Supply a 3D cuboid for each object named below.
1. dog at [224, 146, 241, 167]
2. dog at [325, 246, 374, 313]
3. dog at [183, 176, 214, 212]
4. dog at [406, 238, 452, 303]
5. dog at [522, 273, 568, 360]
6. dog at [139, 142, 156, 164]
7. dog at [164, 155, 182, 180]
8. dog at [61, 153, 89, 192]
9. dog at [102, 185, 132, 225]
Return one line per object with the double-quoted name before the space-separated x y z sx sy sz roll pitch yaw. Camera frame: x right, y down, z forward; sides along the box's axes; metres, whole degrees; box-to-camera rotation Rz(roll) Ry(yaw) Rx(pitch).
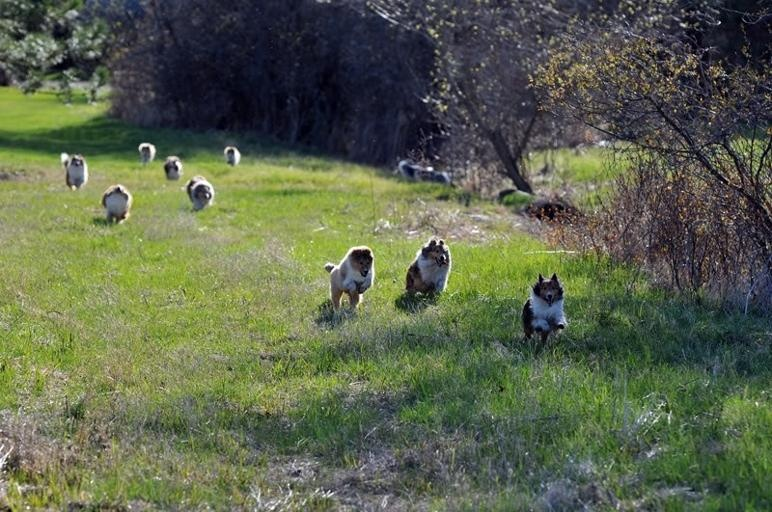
"dog" -4.811 -3.112 38.518 0.503 0.587 1.345 2 5 -8
"dog" -0.952 0.663 29.909 0.531 1.040 2.262 3 -19 -16
"dog" -5.305 -1.818 35.115 0.555 0.805 1.227 -8 28 -18
"dog" 1.040 0.352 30.312 0.827 1.422 1.802 4 -9 -21
"dog" 3.669 1.094 28.281 0.661 1.539 2.295 -2 0 -2
"dog" -7.181 -3.069 36.919 0.533 0.599 0.372 0 5 -23
"dog" -6.369 -2.618 36.948 0.696 0.714 0.541 -1 5 -36
"dog" -8.812 -2.435 34.758 0.431 1.200 1.453 -5 6 -23
"dog" -7.246 -1.393 33.085 0.688 1.035 0.611 1 4 -13
